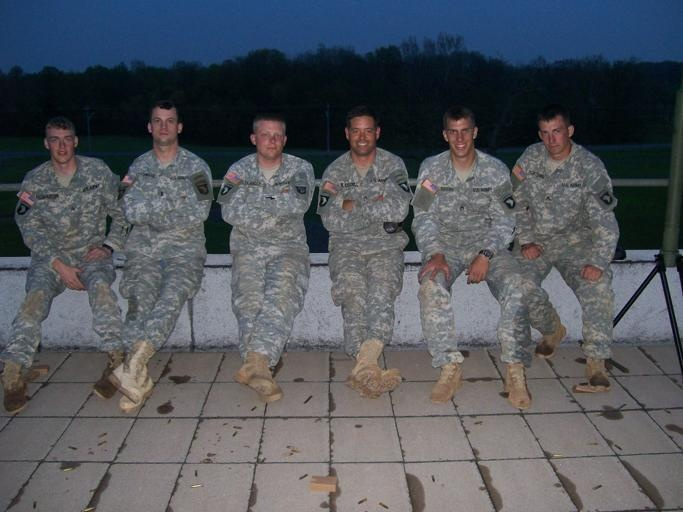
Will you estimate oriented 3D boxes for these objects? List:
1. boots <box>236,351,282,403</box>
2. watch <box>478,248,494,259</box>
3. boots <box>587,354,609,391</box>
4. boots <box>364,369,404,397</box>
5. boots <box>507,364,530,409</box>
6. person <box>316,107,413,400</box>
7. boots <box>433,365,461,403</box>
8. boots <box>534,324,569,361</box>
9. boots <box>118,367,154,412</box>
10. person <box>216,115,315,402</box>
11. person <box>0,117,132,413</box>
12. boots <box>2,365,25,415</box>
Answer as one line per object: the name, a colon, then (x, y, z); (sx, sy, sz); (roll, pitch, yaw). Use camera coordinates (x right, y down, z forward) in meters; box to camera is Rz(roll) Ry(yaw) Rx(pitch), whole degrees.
boots: (-0.550, 0.799, 3.578); (0.284, 0.311, 0.175); (-4, 22, -5)
watch: (1.060, -0.025, 3.981); (0.101, 0.057, 0.090); (-12, -4, -11)
boots: (1.843, 0.843, 3.885); (0.140, 0.173, 0.197); (4, 22, 14)
boots: (0.270, 0.882, 3.731); (0.254, 0.229, 0.099); (-4, 23, -5)
boots: (1.229, 0.895, 3.775); (0.161, 0.226, 0.391); (-2, 16, 7)
person: (0.189, -0.083, 4.052); (0.786, 0.869, 2.098); (0, 62, -4)
boots: (0.740, 0.883, 3.784); (0.123, 0.138, 0.381); (0, 14, 21)
boots: (1.659, 0.672, 4.337); (0.166, 0.116, 0.331); (15, 50, 44)
boots: (-1.407, 0.933, 3.735); (0.201, 0.089, 0.271); (20, 60, -1)
person: (-0.517, -0.057, 3.901); (0.783, 0.837, 2.053); (2, 55, -11)
person: (-2.115, -0.106, 4.064); (0.956, 1.740, 1.285); (-10, 23, -18)
boots: (-2.255, 0.898, 3.711); (0.143, 0.151, 0.392); (-11, 45, -26)
